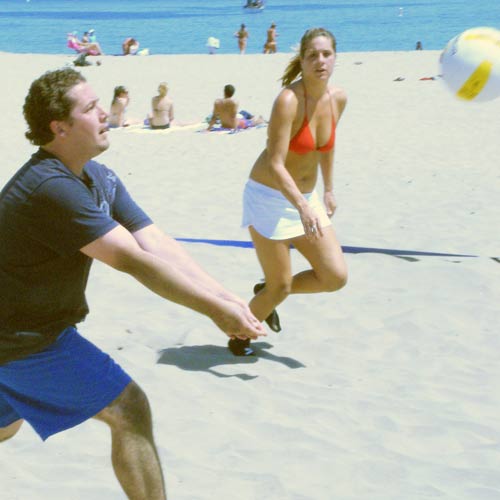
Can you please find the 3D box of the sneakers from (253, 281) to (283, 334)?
[{"bbox_3d":[0.154,0.366,4.475,0.101,0.311,0.190,-24,43,-15],"label":"sneakers"}]

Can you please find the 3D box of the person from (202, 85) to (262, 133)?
[{"bbox_3d":[-0.212,-2.290,11.973,0.707,0.580,1.237,6,12,24],"label":"person"}]

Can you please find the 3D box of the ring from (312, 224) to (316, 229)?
[{"bbox_3d":[0.325,-0.119,3.787,0.028,0.027,0.007,0,30,-13],"label":"ring"}]
